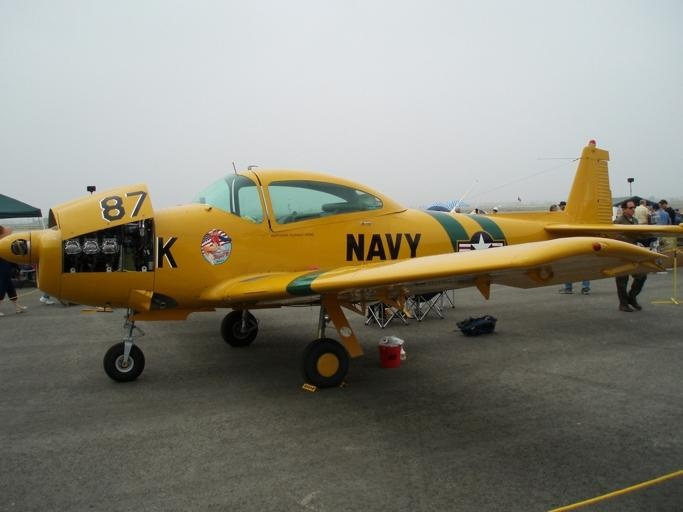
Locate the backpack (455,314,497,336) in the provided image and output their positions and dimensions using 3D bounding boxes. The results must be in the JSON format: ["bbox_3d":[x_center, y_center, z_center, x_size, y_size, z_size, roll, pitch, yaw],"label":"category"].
[{"bbox_3d":[2.141,1.076,7.652,0.569,0.112,0.303,-7,9,-21],"label":"backpack"}]

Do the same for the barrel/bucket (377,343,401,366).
[{"bbox_3d":[0.565,1.209,6.069,0.396,0.254,0.304,1,-2,-8],"label":"barrel/bucket"}]

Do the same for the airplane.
[{"bbox_3d":[-0.108,-0.031,5.553,6.407,1.323,5.380,1,-2,-18],"label":"airplane"}]
